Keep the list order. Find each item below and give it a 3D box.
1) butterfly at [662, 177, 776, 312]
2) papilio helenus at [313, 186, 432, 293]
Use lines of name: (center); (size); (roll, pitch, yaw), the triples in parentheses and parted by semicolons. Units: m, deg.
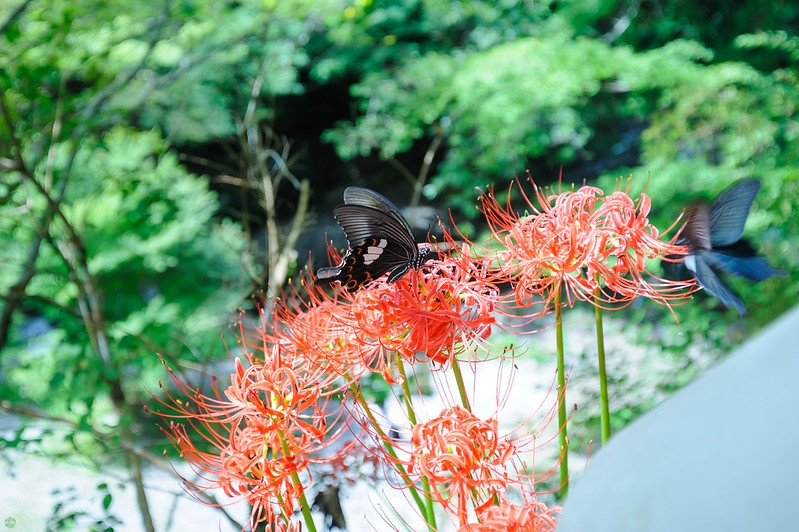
butterfly: (1.102, -0.046, 2.869); (0.309, 0.416, 0.146); (-17, -17, 18)
papilio helenus: (-0.075, -0.077, 3.006); (0.269, 0.441, 0.348); (-7, -1, 35)
